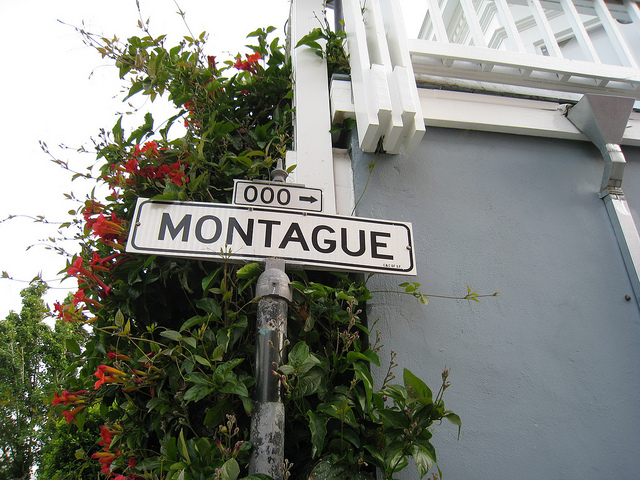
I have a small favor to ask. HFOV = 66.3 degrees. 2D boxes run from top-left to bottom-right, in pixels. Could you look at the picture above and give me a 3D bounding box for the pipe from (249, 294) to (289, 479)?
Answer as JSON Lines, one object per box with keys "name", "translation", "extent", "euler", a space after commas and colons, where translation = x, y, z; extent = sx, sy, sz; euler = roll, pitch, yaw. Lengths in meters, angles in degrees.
{"name": "pipe", "translation": [-0.235, 0.660, 2.259], "extent": [0.148, 0.783, 0.209], "euler": [3, -29, -7]}
